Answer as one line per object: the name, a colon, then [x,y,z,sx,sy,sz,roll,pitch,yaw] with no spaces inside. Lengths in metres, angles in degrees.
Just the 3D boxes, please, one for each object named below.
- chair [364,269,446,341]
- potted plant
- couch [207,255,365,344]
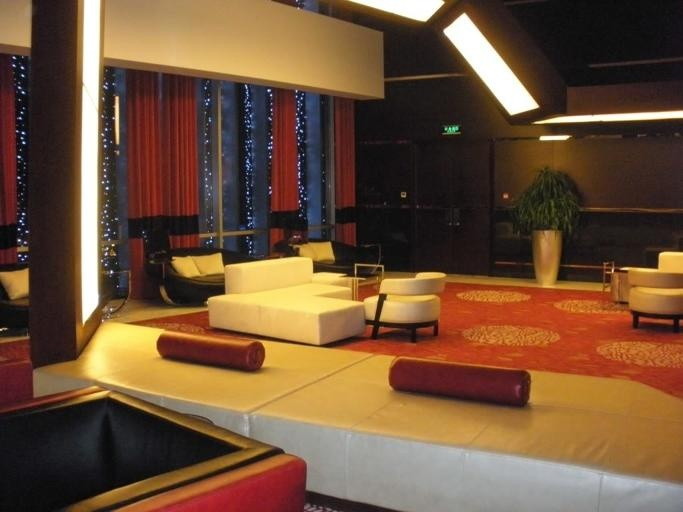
chair: [0.765,0.550,6.408,0.778,0.686,0.805,3,5,23]
potted plant: [3.909,-0.542,10.281,1.107,1.981,1.096,-1,8,-12]
couch: [-0.640,0.573,6.419,1.190,0.546,1.318,2,6,36]
